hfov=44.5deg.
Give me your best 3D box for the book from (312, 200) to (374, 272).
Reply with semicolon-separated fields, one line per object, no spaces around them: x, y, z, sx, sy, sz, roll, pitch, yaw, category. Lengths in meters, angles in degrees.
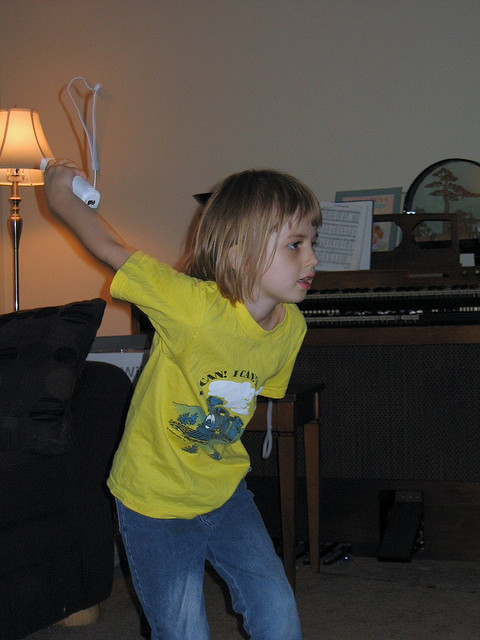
0.345;-0.288;1.968;0.203;0.268;0.148;-1;-5;14;book
